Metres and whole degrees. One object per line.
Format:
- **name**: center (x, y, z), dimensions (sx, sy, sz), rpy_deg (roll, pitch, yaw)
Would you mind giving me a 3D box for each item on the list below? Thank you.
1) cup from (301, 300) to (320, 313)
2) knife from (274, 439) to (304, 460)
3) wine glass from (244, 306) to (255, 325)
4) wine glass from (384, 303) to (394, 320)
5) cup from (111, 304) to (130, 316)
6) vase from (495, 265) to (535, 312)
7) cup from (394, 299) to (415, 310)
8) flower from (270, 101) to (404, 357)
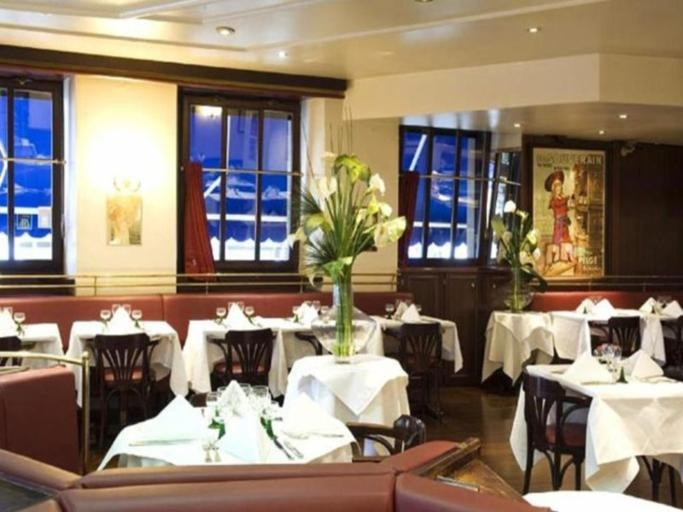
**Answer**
- **cup**: center (-0.342, 0.550, 7.391), dimensions (0.143, 0.122, 0.148), rpy_deg (0, 0, 0)
- **knife**: center (-0.283, 1.010, 3.423), dimensions (0.055, 0.023, 0.189), rpy_deg (-5, 8, -22)
- **wine glass**: center (-0.996, 0.637, 6.981), dimensions (0.136, 0.286, 0.145), rpy_deg (0, -6, -8)
- **wine glass**: center (0.570, 0.638, 7.567), dimensions (0.139, 0.194, 0.149), rpy_deg (0, 3, 6)
- **cup**: center (-2.334, 0.564, 6.847), dimensions (0.123, 0.157, 0.116), rpy_deg (0, 4, 0)
- **vase**: center (2.241, 0.402, 8.463), dimensions (0.480, 0.955, 0.512), rpy_deg (-1, -1, 20)
- **cup**: center (0.771, 0.578, 8.103), dimensions (0.130, 0.143, 0.140), rpy_deg (0, 1, 0)
- **flower**: center (-0.028, -0.072, 4.696), dimensions (0.796, 1.671, 0.794), rpy_deg (-6, -3, -14)
